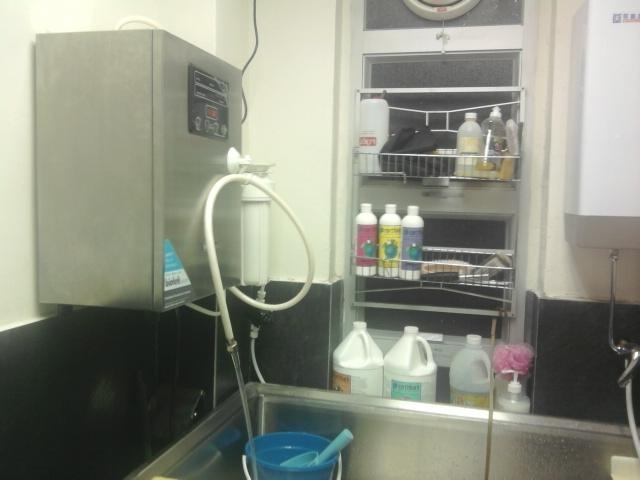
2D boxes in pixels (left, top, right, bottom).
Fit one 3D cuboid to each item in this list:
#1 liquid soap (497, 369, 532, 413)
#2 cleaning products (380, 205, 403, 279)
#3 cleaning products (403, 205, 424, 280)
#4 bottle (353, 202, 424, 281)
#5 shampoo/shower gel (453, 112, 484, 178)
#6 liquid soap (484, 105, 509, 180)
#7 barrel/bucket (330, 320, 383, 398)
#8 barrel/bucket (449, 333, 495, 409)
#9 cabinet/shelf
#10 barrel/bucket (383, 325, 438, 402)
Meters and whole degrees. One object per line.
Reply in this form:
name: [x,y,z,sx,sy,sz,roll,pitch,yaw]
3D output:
liquid soap: [0.738,0.566,2.187,0.123,0.174,0.245,3,8,18]
cleaning products: [0.268,0.005,2.227,0.091,0.277,0.089,2,7,6]
cleaning products: [0.352,0.008,2.220,0.081,0.274,0.139,2,7,10]
bottle: [0.270,0.006,2.234,0.298,0.302,0.107,2,-1,14]
shampoo/shower gel: [0.558,-0.359,2.164,0.098,0.243,0.144,3,7,16]
liquid soap: [0.648,-0.364,2.148,0.092,0.268,0.158,3,7,15]
barrel/bucket: [0.137,0.487,2.279,0.184,0.298,0.183,1,18,0]
barrel/bucket: [0.583,0.487,2.207,0.144,0.215,0.129,-1,10,-8]
cabinet/shelf: [0.465,-0.169,2.344,0.648,0.911,0.309,2,-2,12]
barrel/bucket: [0.354,0.482,2.247,0.215,0.339,0.225,-4,34,3]
